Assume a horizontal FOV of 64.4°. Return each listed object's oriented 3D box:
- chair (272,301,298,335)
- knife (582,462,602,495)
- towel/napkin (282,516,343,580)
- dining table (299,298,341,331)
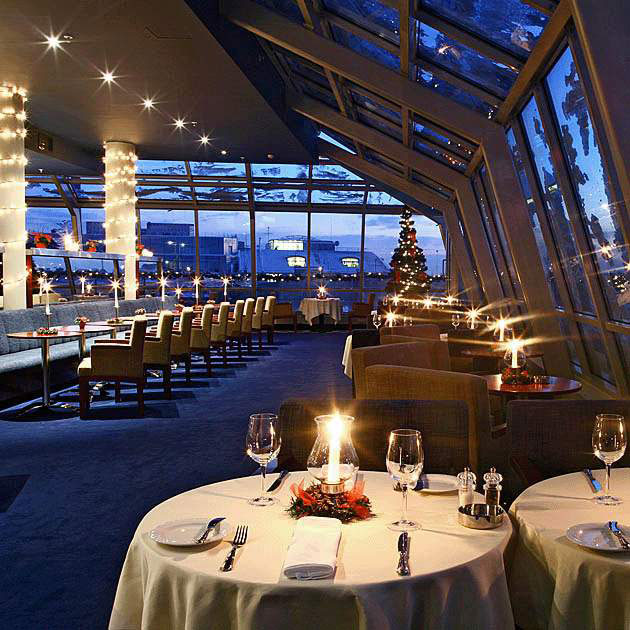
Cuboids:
[{"bbox_3d":[-0.943,0.053,15.497,0.761,1.315,0.726,0,5,1],"label":"chair"},{"bbox_3d":[0.879,0.515,1.580,0.037,0.043,0.118,7,15,1],"label":"knife"},{"bbox_3d":[-0.002,0.488,1.058,0.110,0.043,0.197,-2,3,12],"label":"towel/napkin"},{"bbox_3d":[0.134,-0.093,15.923,0.973,0.827,1.068,0,-1,-1],"label":"dining table"}]
